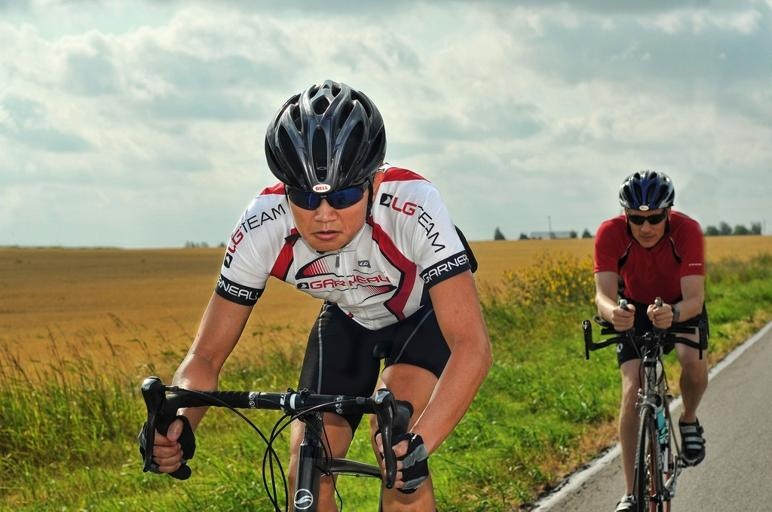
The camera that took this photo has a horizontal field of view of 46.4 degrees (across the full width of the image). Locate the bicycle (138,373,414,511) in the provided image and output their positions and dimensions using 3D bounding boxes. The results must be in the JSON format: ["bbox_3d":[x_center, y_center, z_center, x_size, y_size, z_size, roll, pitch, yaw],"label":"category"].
[{"bbox_3d":[-0.850,1.588,8.420,1.116,1.054,2.288,-3,-11,19],"label":"bicycle"}]

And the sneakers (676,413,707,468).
[{"bbox_3d":[3.446,2.106,10.202,0.193,0.635,0.253,-6,-25,25],"label":"sneakers"}]
